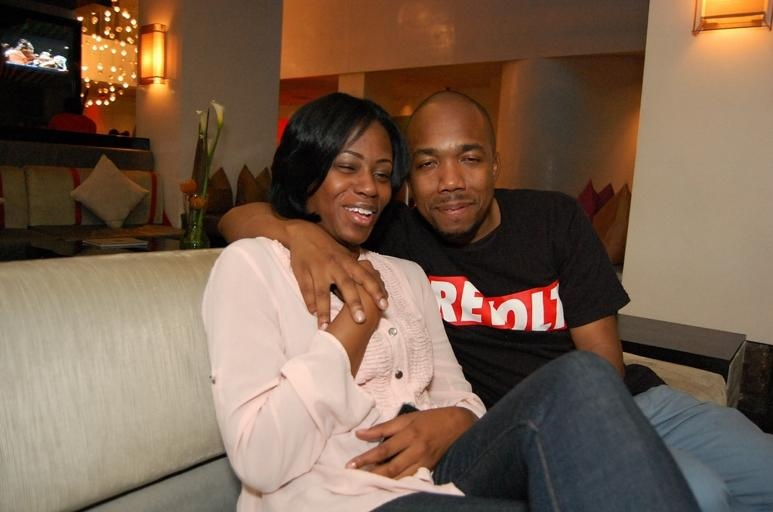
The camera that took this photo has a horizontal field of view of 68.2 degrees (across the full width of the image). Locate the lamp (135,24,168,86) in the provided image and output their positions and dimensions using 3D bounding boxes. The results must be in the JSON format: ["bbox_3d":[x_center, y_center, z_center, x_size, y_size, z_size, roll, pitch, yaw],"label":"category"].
[{"bbox_3d":[-2.338,-1.978,5.687,0.345,0.555,0.128,9,13,27],"label":"lamp"}]
